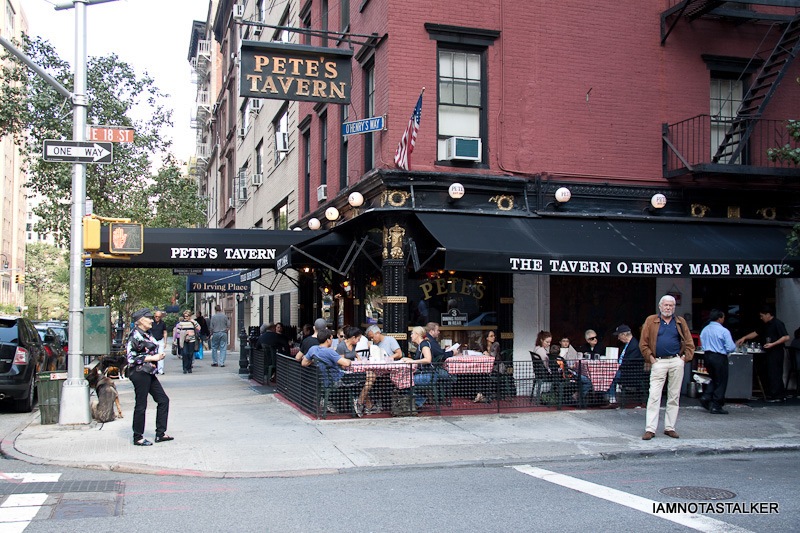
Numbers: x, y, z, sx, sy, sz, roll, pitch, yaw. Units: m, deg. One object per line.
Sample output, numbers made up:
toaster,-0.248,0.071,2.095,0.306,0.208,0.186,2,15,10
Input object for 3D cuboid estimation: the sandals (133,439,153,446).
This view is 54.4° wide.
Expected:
sandals,-4.859,3.270,14.601,0.278,0.113,0.147,0,-1,2

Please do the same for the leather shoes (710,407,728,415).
leather shoes,7.193,3.187,17.407,0.464,0.131,0.279,2,-5,-7

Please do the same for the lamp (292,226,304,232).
lamp,-3.395,-1.259,25.836,0.498,0.180,0.507,0,1,25

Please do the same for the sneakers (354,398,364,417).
sneakers,-0.915,3.033,16.883,0.176,0.422,0.154,-12,-4,23

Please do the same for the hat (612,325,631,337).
hat,5.099,1.452,18.118,0.525,0.322,0.392,1,0,32

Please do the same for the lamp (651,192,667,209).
lamp,6.810,-1.723,20.293,0.605,0.399,0.343,4,-6,-35

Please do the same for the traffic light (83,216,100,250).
traffic light,-6.714,-0.738,16.818,0.367,0.748,0.215,0,-5,17

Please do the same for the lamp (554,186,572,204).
lamp,4.114,-1.794,19.535,0.376,0.385,0.381,-6,3,9

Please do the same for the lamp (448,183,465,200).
lamp,1.378,-1.832,18.871,0.358,0.362,0.193,1,4,-16

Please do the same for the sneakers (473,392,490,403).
sneakers,1.790,2.887,17.183,0.224,0.127,0.240,-4,-30,-3

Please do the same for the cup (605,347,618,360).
cup,4.987,2.008,18.193,0.259,0.265,0.474,-2,1,16

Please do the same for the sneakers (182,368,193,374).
sneakers,-7.317,3.542,26.640,0.189,0.182,0.318,3,3,9

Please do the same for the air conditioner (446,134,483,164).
air conditioner,1.599,-2.708,19.288,0.991,0.706,0.542,1,-2,-19

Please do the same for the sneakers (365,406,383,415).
sneakers,-0.582,3.124,17.031,0.453,0.207,0.136,6,-11,-11

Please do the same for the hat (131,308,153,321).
hat,-5.020,0.903,15.062,0.373,0.184,0.282,-15,7,-37

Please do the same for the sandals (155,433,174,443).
sandals,-4.534,3.253,14.902,0.367,0.152,0.134,1,-2,-31

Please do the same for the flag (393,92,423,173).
flag,0.198,-3.218,18.607,0.595,1.696,1.129,1,-5,-4

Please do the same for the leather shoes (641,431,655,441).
leather shoes,4.790,3.231,14.893,0.122,0.136,0.345,-14,-23,41

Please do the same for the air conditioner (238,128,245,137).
air conditioner,-8.340,-7.029,40.691,0.302,0.538,0.574,3,-8,-19

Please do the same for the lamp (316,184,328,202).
lamp,-2.487,-2.285,24.431,0.400,0.696,0.738,1,-5,-11

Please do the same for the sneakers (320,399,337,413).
sneakers,-1.549,2.976,16.678,0.151,0.205,0.447,1,1,20

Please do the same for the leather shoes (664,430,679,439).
leather shoes,5.278,3.206,15.035,0.268,0.143,0.330,0,-5,16

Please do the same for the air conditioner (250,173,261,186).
air conditioner,-6.684,-4.012,35.835,0.604,0.583,0.327,0,-5,1

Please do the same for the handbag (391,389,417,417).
handbag,0.068,2.981,17.066,0.514,0.502,0.279,2,-17,-14

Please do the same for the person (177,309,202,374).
person,-7.635,2.652,27.766,0.848,2.139,0.806,1,-5,-29

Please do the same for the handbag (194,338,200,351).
handbag,-8.822,3.376,33.772,0.158,0.617,0.662,7,-5,0

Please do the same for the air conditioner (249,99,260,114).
air conditioner,-6.693,-7.425,35.779,0.330,0.753,1.169,2,-5,-17

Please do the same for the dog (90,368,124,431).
dog,-6.422,2.814,17.023,0.646,1.073,0.941,3,-5,-20

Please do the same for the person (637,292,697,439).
person,5.226,1.932,15.247,0.954,2.723,1.184,-1,-5,26

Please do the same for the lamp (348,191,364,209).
lamp,-1.147,-1.735,20.178,0.292,0.386,0.382,21,-29,-12

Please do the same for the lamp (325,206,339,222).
lamp,-1.918,-1.492,22.081,0.417,0.426,0.418,8,3,38

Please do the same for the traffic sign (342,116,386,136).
traffic sign,-0.838,-3.480,19.148,1.146,0.456,0.525,-2,-6,33

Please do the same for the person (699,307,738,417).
person,7.202,2.121,17.639,0.672,2.287,0.597,-2,-5,33

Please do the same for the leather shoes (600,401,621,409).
leather shoes,4.816,3.166,17.847,0.335,0.080,0.182,0,-4,-12
